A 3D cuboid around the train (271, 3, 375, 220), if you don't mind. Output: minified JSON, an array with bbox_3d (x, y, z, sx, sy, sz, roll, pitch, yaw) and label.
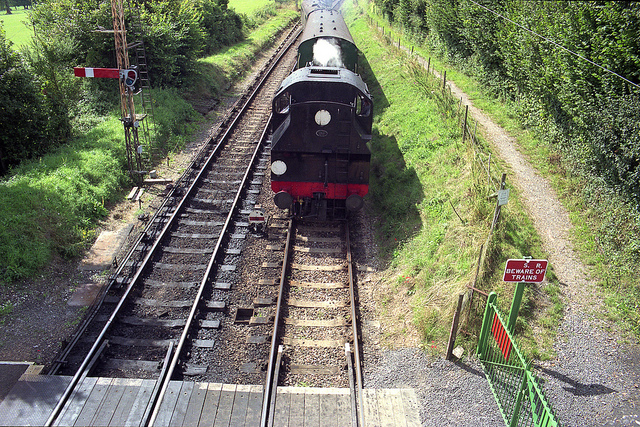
[{"bbox_3d":[0.183,-6.559,22.945,2.310,3.774,14.344,0,38,1],"label":"train"}]

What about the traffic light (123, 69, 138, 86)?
[{"bbox_3d":[-7.795,-5.609,20.161,0.444,0.672,0.315,3,22,-1],"label":"traffic light"}]
